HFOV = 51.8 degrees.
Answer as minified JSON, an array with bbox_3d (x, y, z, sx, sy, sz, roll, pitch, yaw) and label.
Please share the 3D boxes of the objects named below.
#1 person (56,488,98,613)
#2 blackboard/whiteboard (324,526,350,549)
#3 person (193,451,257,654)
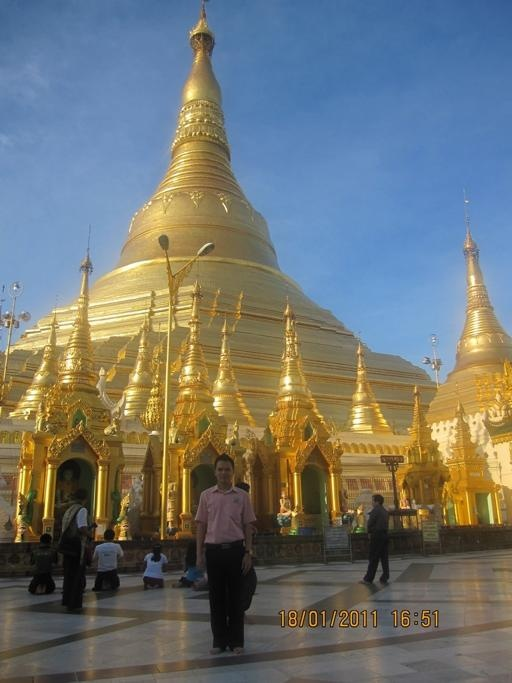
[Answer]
[{"bbox_3d":[-1.760,2.070,5.115,0.277,0.956,0.347,3,-21,-13],"label":"person"},{"bbox_3d":[1.659,3.970,10.628,0.660,0.425,0.170,10,-24,-31],"label":"blackboard/whiteboard"},{"bbox_3d":[-0.189,1.268,3.331,0.371,1.145,0.509,1,-21,-9],"label":"person"}]
